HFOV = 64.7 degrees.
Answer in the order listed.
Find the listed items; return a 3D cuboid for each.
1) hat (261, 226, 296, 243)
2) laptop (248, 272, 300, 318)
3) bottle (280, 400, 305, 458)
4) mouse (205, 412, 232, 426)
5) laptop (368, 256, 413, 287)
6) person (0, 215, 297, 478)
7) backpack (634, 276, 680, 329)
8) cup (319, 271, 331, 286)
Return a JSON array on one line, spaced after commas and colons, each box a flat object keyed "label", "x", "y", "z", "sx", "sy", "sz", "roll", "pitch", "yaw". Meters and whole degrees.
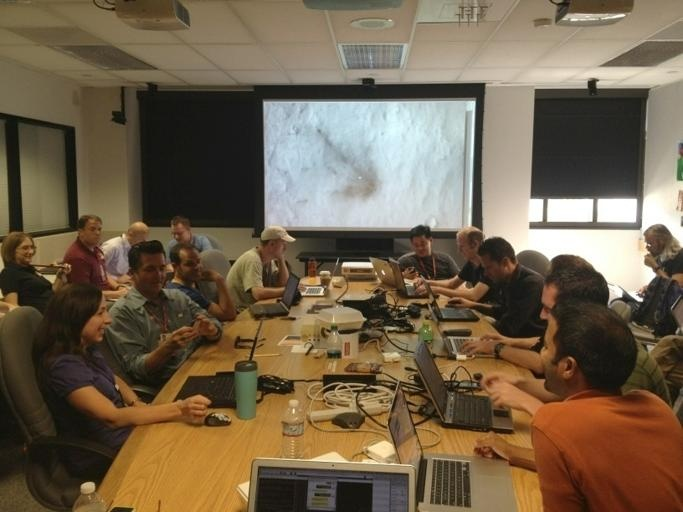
[{"label": "hat", "x": -0.541, "y": -0.182, "z": 4.682, "sx": 0.249, "sy": 0.126, "sz": 0.173, "roll": -4, "pitch": 11, "yaw": -16}, {"label": "laptop", "x": -0.486, "y": 0.323, "z": 4.062, "sx": 0.301, "sy": 0.227, "sz": 0.353, "roll": -1, "pitch": 11, "yaw": -10}, {"label": "bottle", "x": -0.196, "y": 0.669, "z": 2.231, "sx": 0.093, "sy": 0.262, "sz": 0.336, "roll": 1, "pitch": 5, "yaw": -4}, {"label": "mouse", "x": -0.552, "y": 0.719, "z": 2.383, "sx": 0.081, "sy": 0.035, "sz": 0.061, "roll": 2, "pitch": 2, "yaw": -4}, {"label": "laptop", "x": 0.430, "y": 0.155, "z": 4.831, "sx": 0.244, "sy": 0.239, "sz": 0.349, "roll": -19, "pitch": 13, "yaw": -17}, {"label": "person", "x": -0.928, "y": 0.619, "z": 3.125, "sx": 1.079, "sy": 1.450, "sz": 1.165, "roll": -3, "pitch": 23, "yaw": -4}, {"label": "backpack", "x": 3.038, "y": 0.463, "z": 5.174, "sx": 0.232, "sy": 0.427, "sz": 0.435, "roll": 6, "pitch": 6, "yaw": 8}, {"label": "cup", "x": -0.153, "y": 0.203, "z": 5.060, "sx": 0.106, "sy": 0.126, "sz": 0.111, "roll": 1, "pitch": 17, "yaw": 0}]
